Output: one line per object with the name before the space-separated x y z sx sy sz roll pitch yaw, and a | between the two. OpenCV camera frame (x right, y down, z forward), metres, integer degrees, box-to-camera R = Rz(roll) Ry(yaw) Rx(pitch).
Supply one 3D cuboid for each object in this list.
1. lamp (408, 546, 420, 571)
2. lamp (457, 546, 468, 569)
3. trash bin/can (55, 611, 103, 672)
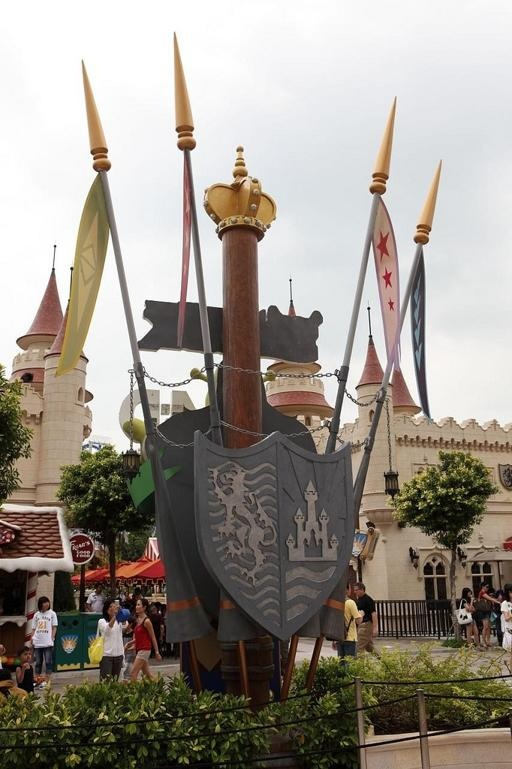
lamp | 5.525 6.065 31.031 0.241 0.757 0.283 -1 -32 -7
lamp | 7.209 6.036 31.231 0.346 0.713 1.766 -3 -14 13
trash bin/can | -3.470 4.809 16.573 0.876 1.372 0.882 11 -22 -35
